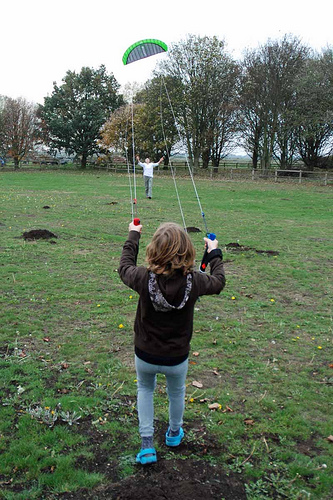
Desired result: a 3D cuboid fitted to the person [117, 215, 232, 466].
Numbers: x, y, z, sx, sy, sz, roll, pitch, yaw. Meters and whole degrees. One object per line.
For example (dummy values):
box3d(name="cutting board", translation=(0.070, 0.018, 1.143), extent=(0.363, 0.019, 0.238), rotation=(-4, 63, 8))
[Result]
box3d(name="person", translation=(0.131, 0.678, 3.275), extent=(0.794, 1.884, 1.409), rotation=(9, 11, 29))

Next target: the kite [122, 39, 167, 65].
box3d(name="kite", translation=(-0.264, -2.254, 4.570), extent=(0.413, 0.200, 0.530), rotation=(-6, 13, -41))

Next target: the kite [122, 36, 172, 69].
box3d(name="kite", translation=(-0.261, -2.254, 4.570), extent=(0.411, 0.200, 0.528), rotation=(-6, 13, -42))

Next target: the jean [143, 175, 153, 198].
box3d(name="jean", translation=(-0.983, -3.285, 20.467), extent=(0.346, 1.081, 0.778), rotation=(4, 10, 4))

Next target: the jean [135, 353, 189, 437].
box3d(name="jean", translation=(-0.056, 1.105, 2.916), extent=(0.374, 0.765, 0.398), rotation=(3, 10, 2))
